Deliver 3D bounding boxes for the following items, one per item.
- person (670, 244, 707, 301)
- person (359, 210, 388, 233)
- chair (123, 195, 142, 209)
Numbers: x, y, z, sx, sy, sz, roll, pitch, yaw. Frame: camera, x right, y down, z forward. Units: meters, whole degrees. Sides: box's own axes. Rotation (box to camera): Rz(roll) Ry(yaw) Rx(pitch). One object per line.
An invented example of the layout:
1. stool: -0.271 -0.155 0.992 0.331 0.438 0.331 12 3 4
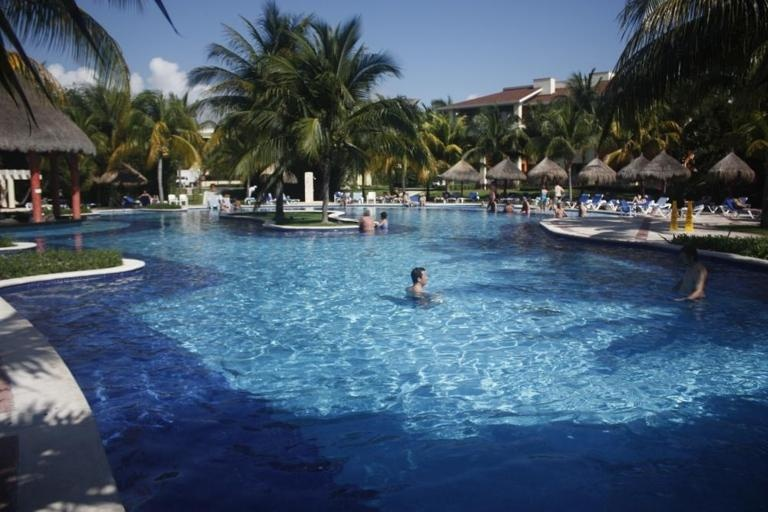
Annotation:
1. person: 6.556 0.403 11.848 0.594 1.106 0.866 -5 12 11
2. person: -0.604 -1.405 22.918 1.310 0.850 0.869 2 7 28
3. chair: -18.278 -3.857 40.127 1.378 0.553 1.029 18 7 14
